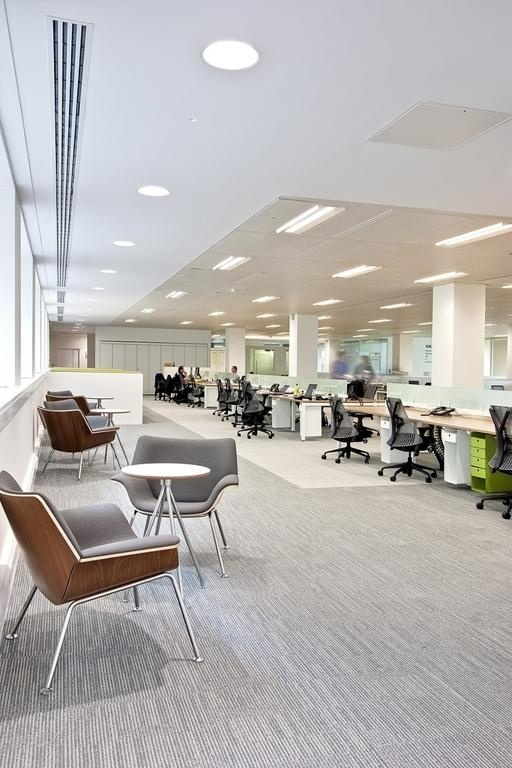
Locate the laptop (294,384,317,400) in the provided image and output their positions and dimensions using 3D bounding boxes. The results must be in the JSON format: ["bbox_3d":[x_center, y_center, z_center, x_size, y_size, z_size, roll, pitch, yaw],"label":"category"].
[{"bbox_3d":[1.076,0.241,10.282,0.277,0.310,0.495,4,-6,-15],"label":"laptop"}]

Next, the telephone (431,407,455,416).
[{"bbox_3d":[2.514,0.357,6.495,0.297,0.125,0.699,-1,-3,26],"label":"telephone"}]

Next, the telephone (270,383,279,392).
[{"bbox_3d":[0.484,0.078,12.019,0.080,0.174,0.248,30,-4,-29],"label":"telephone"}]
